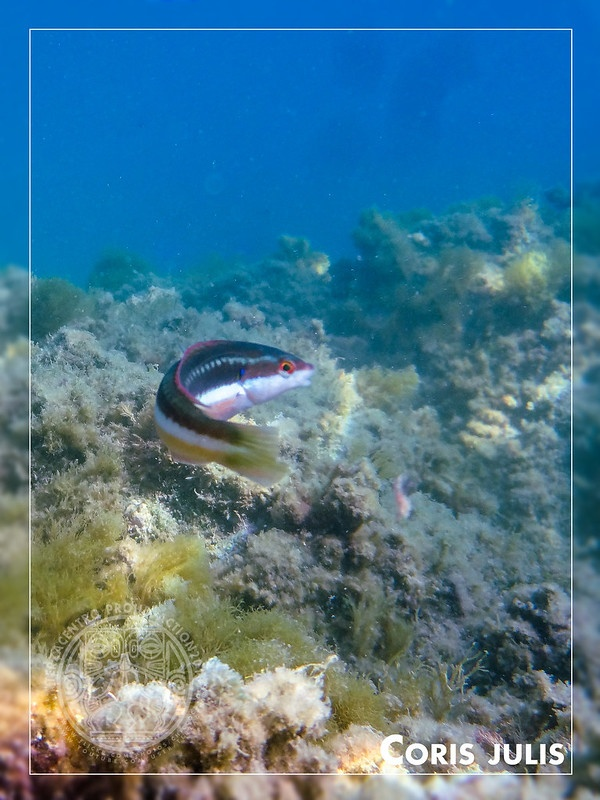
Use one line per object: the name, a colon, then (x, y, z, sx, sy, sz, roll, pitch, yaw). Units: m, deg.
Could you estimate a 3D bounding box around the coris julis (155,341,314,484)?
coris julis: (-0.308, 0.032, 3.521, 0.690, 0.380, 0.883, 8, 24, 11)
